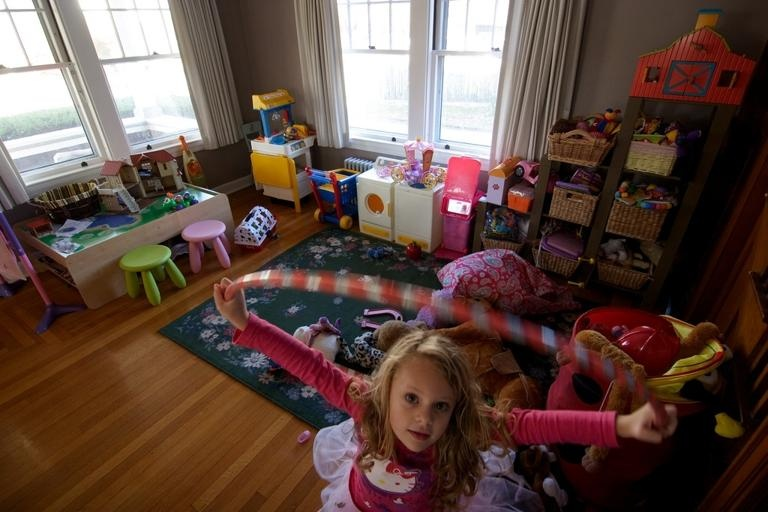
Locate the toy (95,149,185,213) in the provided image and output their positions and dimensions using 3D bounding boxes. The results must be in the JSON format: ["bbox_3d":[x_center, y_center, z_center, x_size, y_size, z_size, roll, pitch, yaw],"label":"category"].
[{"bbox_3d":[-2.337,-0.728,4.507,0.753,0.441,0.453,-15,33,-25],"label":"toy"}]

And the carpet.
[{"bbox_3d":[-0.675,0.457,4.019,2.235,0.022,1.472,23,40,30],"label":"carpet"}]

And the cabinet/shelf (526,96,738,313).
[{"bbox_3d":[1.956,-0.386,3.603,1.077,1.586,0.835,23,32,20],"label":"cabinet/shelf"}]

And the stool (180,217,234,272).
[{"bbox_3d":[-1.680,-0.030,4.466,0.426,0.341,0.435,-9,10,18],"label":"stool"}]

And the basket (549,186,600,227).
[{"bbox_3d":[1.528,-0.406,3.808,0.309,0.225,0.317,22,28,23],"label":"basket"}]

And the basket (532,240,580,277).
[{"bbox_3d":[1.457,0.047,3.998,0.339,0.178,0.247,17,31,33],"label":"basket"}]

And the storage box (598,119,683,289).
[{"bbox_3d":[1.972,-0.426,3.584,0.350,0.986,0.994,18,33,28],"label":"storage box"}]

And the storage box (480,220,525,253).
[{"bbox_3d":[1.086,-0.198,4.231,0.229,0.128,0.322,9,22,20],"label":"storage box"}]

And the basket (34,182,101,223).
[{"bbox_3d":[-2.889,-0.502,4.337,0.484,0.248,0.383,-19,35,-30],"label":"basket"}]

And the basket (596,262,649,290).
[{"bbox_3d":[1.926,0.173,3.796,0.305,0.162,0.216,15,26,36],"label":"basket"}]

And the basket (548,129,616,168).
[{"bbox_3d":[1.533,-0.894,3.640,0.400,0.205,0.298,19,28,23],"label":"basket"}]

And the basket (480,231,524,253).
[{"bbox_3d":[1.061,-0.107,4.229,0.248,0.101,0.196,13,23,29],"label":"basket"}]

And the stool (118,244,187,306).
[{"bbox_3d":[-1.967,0.171,4.182,0.385,0.344,0.393,-2,23,29],"label":"stool"}]

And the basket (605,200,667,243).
[{"bbox_3d":[1.948,-0.326,3.594,0.328,0.233,0.335,16,33,28],"label":"basket"}]

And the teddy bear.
[{"bbox_3d":[-0.156,0.629,3.361,0.713,0.279,0.498,5,16,20],"label":"teddy bear"}]

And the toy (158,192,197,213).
[{"bbox_3d":[-1.992,-0.564,4.553,0.331,0.101,0.390,-17,34,-27],"label":"toy"}]
